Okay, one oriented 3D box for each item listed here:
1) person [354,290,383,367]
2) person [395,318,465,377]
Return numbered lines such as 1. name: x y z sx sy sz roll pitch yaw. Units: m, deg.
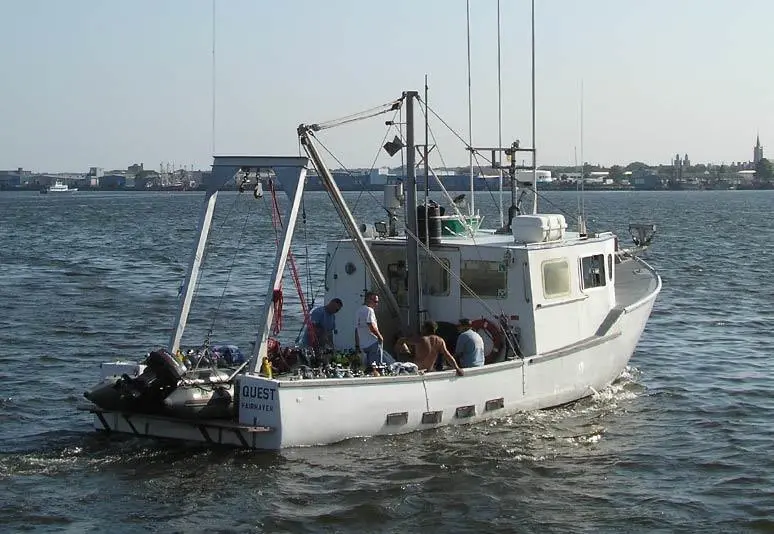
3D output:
1. person: -0.235 1.134 16.743 0.430 1.281 0.723 -2 11 -10
2. person: 0.710 1.389 16.691 0.670 0.826 1.335 -8 13 -35
